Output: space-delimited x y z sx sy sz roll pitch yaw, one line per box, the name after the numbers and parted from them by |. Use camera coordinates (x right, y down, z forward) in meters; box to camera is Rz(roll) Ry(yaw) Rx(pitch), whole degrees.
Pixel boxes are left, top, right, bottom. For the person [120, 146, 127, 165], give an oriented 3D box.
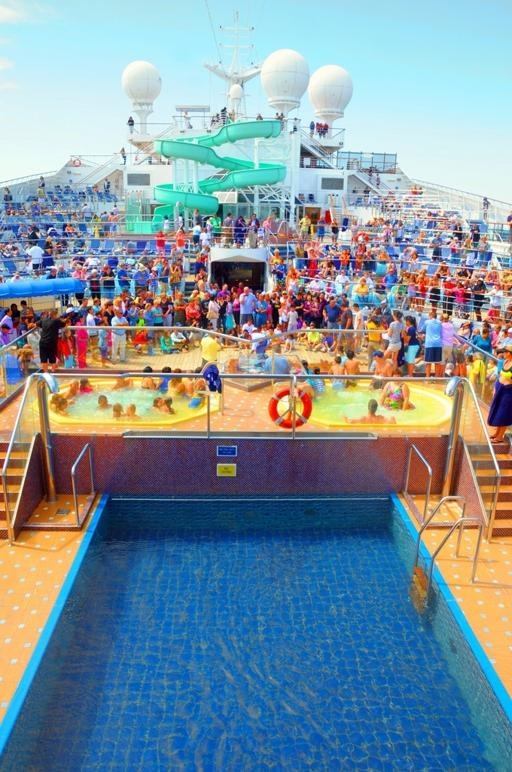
-8.335 -14.591 37.584 0.377 1.245 2.257 -2 11 -12 | person

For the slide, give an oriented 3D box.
-2.044 -9.142 28.111 5.811 4.150 5.038 15 21 -19 | slide

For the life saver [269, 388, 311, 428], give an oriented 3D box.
0.507 0.325 8.384 0.611 0.613 0.241 2 10 7 | life saver
